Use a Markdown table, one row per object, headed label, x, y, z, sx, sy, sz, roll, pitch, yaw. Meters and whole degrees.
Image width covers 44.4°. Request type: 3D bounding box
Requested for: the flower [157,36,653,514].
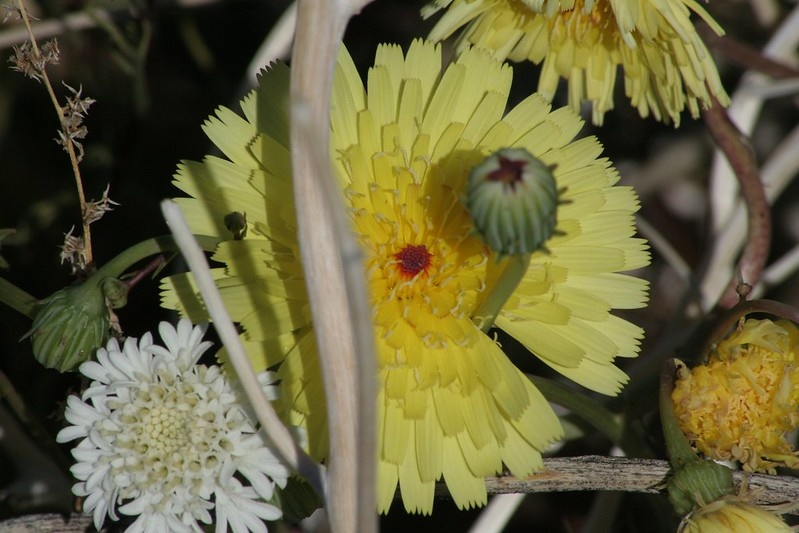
| label | x | y | z | sx | sy | sz | roll | pitch | yaw |
| --- | --- | --- | --- | --- | --- | --- | --- | --- | --- |
| flower | 0.030 | 0.032 | 1.413 | 0.686 | 0.257 | 0.661 | -4 | 37 | -48 |
